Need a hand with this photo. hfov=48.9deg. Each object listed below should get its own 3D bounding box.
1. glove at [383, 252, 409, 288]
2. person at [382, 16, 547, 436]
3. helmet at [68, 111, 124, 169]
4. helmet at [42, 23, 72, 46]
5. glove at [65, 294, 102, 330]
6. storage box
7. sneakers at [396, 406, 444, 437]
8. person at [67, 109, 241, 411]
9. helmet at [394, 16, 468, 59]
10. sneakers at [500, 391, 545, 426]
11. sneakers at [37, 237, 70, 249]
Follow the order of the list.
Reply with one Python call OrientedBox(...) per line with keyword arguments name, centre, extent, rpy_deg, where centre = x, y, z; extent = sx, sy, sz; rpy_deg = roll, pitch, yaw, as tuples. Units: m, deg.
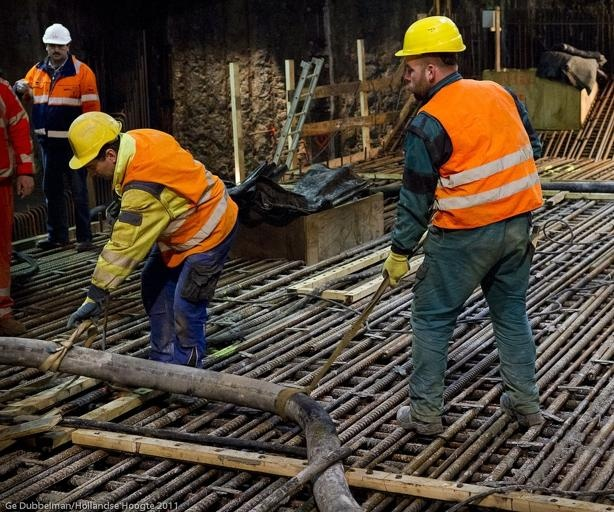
OrientedBox(name="glove", centre=(0.483, 0.075, 3.689), extent=(0.161, 0.183, 0.074), rpy_deg=(26, 32, 10))
OrientedBox(name="person", centre=(0.827, -0.125, 3.578), extent=(0.847, 2.224, 0.364), rpy_deg=(-3, 10, 3))
OrientedBox(name="helmet", centre=(-1.240, -0.664, 3.883), extent=(0.260, 0.329, 0.358), rpy_deg=(-1, 9, 15))
OrientedBox(name="helmet", centre=(-2.528, -2.195, 6.768), extent=(0.232, 0.241, 0.251), rpy_deg=(-5, 9, -12))
OrientedBox(name="glove", centre=(-1.279, 0.333, 3.815), extent=(0.233, 0.138, 0.065), rpy_deg=(-37, -14, -2))
OrientedBox(name="storage box", centre=(-0.075, -0.391, 7.342), extent=(1.254, 0.641, 1.304), rpy_deg=(20, 33, 37))
OrientedBox(name="sneakers", centre=(0.611, 0.908, 3.803), extent=(0.128, 0.105, 0.284), rpy_deg=(-13, 20, -34))
OrientedBox(name="person", centre=(-0.926, -0.027, 4.089), extent=(0.695, 1.636, 0.881), rpy_deg=(-1, 9, 14))
OrientedBox(name="helmet", centre=(0.652, -1.121, 3.511), extent=(0.329, 0.128, 0.219), rpy_deg=(2, 18, 3))
OrientedBox(name="sneakers", centre=(1.211, 0.848, 3.802), extent=(0.255, 0.082, 0.139), rpy_deg=(26, -26, 13))
OrientedBox(name="sneakers", centre=(-2.755, -0.121, 7.241), extent=(0.385, 0.125, 0.107), rpy_deg=(-1, 20, -13))
